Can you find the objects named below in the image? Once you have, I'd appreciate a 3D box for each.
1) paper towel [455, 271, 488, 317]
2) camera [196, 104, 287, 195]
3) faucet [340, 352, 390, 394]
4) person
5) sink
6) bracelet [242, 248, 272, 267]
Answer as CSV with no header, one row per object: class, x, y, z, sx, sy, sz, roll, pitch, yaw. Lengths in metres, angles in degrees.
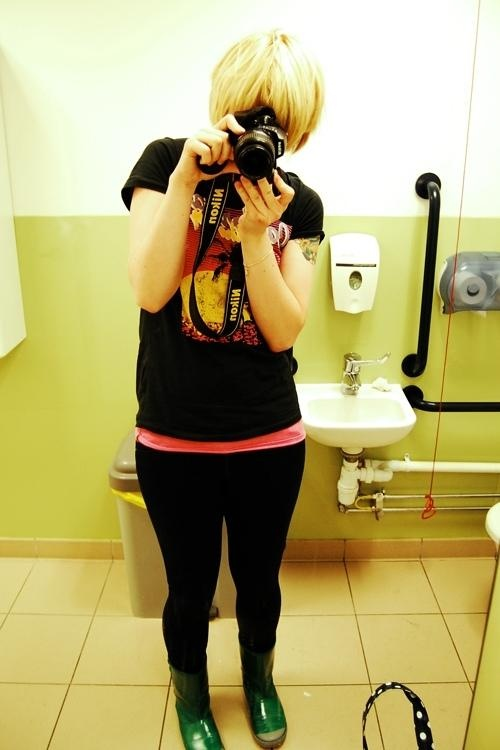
paper towel,0.335,-0.125,0.906,0.050,0.053,0.055,1,19,7
camera,0.013,-0.311,0.776,0.083,0.059,0.116,-9,56,-10
faucet,0.307,-0.007,1.601,0.103,0.133,0.088,6,27,10
person,-0.033,0.133,1.075,0.350,1.331,0.301,-5,26,-10
sink,0.288,0.142,1.600,0.308,0.145,0.274,1,22,-1
bracelet,0.005,-0.181,0.875,0.031,0.009,0.028,-21,8,-30
